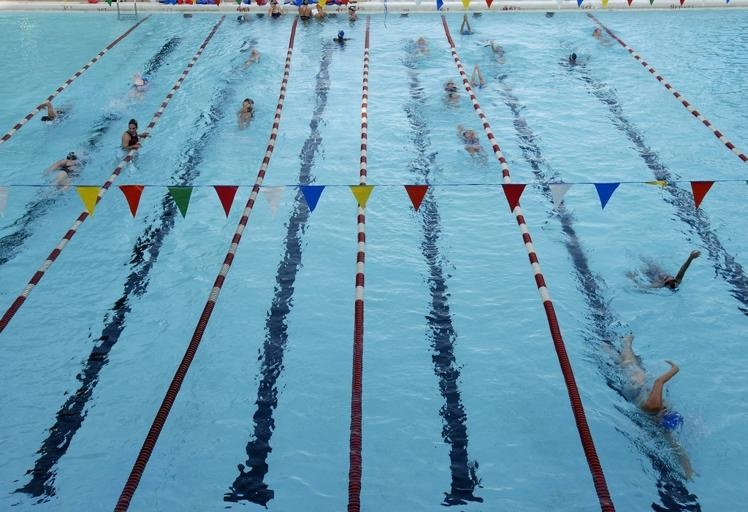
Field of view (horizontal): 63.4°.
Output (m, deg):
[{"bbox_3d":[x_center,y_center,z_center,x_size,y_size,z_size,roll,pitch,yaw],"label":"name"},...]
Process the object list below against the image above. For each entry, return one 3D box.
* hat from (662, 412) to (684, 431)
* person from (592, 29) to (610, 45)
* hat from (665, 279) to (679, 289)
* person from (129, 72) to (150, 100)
[{"bbox_3d":[3.124,1.754,6.398,0.192,0.151,0.186,14,32,30],"label":"hat"},{"bbox_3d":[4.592,-4.500,12.353,0.364,0.286,0.786,5,25,16],"label":"person"},{"bbox_3d":[3.697,0.350,7.579,0.165,0.133,0.086,2,31,11],"label":"hat"},{"bbox_3d":[-4.267,-3.114,10.983,0.328,0.391,0.735,-13,27,-14],"label":"person"}]
